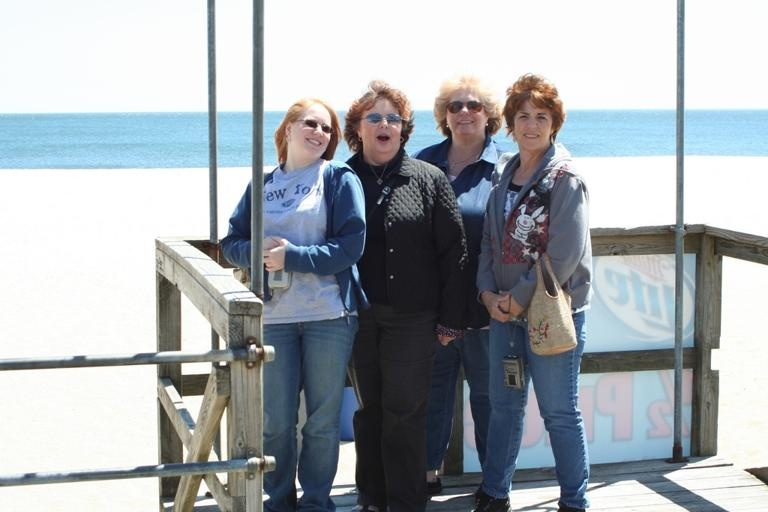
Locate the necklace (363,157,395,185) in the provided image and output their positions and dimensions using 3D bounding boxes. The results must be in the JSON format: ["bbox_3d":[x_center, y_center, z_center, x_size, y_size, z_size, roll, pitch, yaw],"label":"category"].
[{"bbox_3d":[-0.078,-1.397,18.651,0.352,0.444,0.233,-4,30,2],"label":"necklace"}]

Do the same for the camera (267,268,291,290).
[{"bbox_3d":[-1.729,0.384,18.374,0.363,0.315,0.106,-2,-6,-7],"label":"camera"}]
